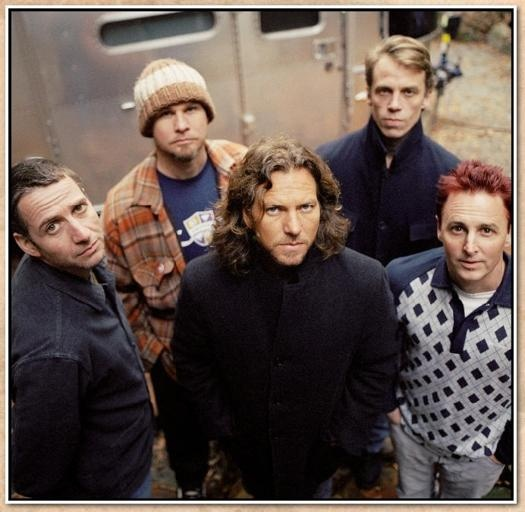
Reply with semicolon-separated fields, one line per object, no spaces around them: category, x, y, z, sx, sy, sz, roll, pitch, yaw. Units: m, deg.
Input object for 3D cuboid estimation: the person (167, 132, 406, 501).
person;0.078;0.377;2.303;0.849;1.673;0.480;1;23;4
